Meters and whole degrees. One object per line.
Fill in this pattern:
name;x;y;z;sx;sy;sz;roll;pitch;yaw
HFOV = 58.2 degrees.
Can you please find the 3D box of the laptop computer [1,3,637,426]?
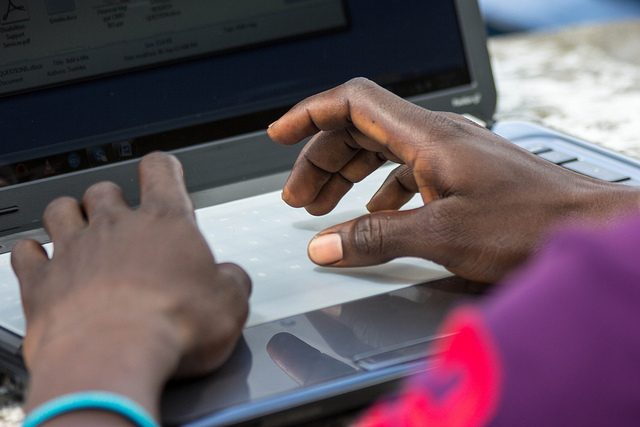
laptop computer;-0.051;0.057;0.809;0.719;0.439;0.564;-20;39;-24
